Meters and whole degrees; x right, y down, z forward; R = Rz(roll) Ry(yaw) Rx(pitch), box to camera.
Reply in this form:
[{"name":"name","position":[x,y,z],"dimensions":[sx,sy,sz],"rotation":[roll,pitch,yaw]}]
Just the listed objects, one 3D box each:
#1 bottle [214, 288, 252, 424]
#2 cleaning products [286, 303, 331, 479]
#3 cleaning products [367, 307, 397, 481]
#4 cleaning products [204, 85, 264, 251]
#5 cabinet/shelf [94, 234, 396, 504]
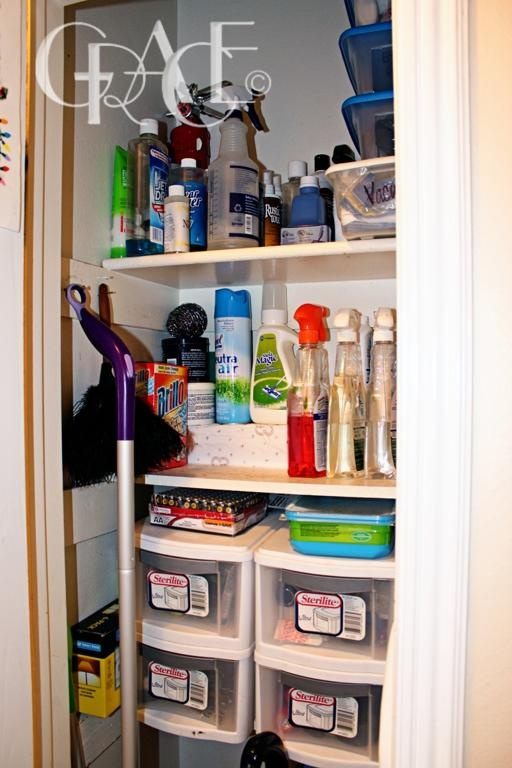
[{"name":"bottle","position":[-0.038,-0.048,1.181],"dimensions":[0.076,0.227,0.061],"rotation":[1,1,30]},{"name":"cleaning products","position":[0.070,0.011,0.986],"dimensions":[0.058,0.250,0.061],"rotation":[4,10,16]},{"name":"cleaning products","position":[0.175,0.010,0.958],"dimensions":[0.042,0.233,0.083],"rotation":[-1,3,9]},{"name":"cleaning products","position":[-0.028,-0.324,1.047],"dimensions":[0.068,0.238,0.086],"rotation":[1,12,10]},{"name":"cabinet/shelf","position":[-0.012,-0.019,1.031],"dimensions":[0.403,0.364,0.139],"rotation":[-2,-5,20]}]
